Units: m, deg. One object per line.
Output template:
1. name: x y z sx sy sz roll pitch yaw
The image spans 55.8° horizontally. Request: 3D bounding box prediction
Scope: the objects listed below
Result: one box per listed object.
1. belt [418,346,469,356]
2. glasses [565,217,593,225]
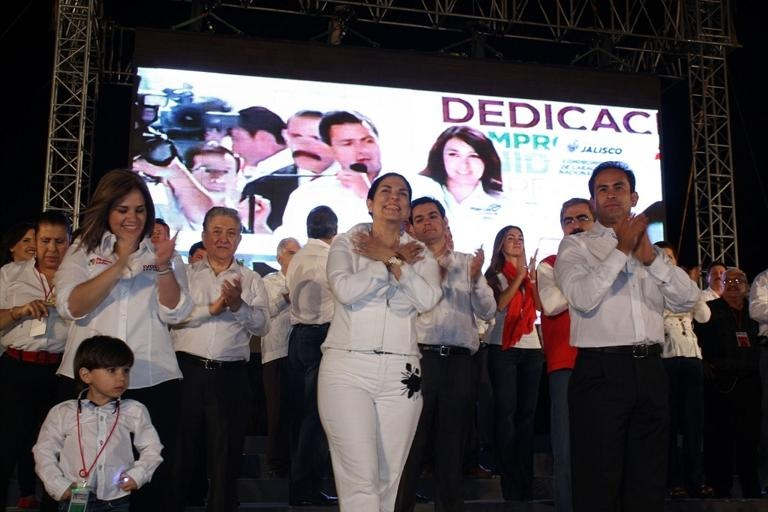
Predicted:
1. belt: 0.558 0.859 6.566 0.479 0.095 0.104 3 -3 -24
2. glasses: 1.931 -0.340 7.241 0.114 0.055 0.148 4 -2 -15
